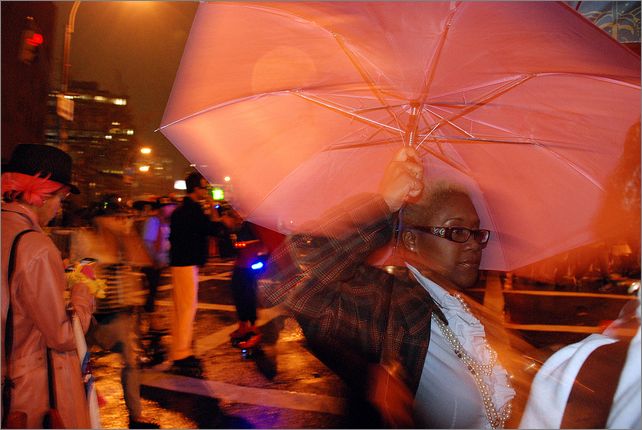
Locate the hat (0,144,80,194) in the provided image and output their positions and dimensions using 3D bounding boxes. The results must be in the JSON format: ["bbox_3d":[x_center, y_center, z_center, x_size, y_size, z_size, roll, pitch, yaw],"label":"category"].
[{"bbox_3d":[-2.172,-0.361,3.731,0.430,0.153,0.332,15,-3,-21],"label":"hat"}]

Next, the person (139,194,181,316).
[{"bbox_3d":[-2.972,0.735,8.811,0.890,0.939,2.505,-5,-37,-23],"label":"person"}]

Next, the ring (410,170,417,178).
[{"bbox_3d":[0.511,-0.221,2.657,0.027,0.035,0.036,1,-12,-13],"label":"ring"}]

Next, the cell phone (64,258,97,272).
[{"bbox_3d":[-2.293,0.467,4.515,0.308,0.111,0.087,-11,12,-4],"label":"cell phone"}]

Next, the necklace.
[{"bbox_3d":[1.016,0.897,2.913,0.114,0.622,0.464,-31,-20,17],"label":"necklace"}]
